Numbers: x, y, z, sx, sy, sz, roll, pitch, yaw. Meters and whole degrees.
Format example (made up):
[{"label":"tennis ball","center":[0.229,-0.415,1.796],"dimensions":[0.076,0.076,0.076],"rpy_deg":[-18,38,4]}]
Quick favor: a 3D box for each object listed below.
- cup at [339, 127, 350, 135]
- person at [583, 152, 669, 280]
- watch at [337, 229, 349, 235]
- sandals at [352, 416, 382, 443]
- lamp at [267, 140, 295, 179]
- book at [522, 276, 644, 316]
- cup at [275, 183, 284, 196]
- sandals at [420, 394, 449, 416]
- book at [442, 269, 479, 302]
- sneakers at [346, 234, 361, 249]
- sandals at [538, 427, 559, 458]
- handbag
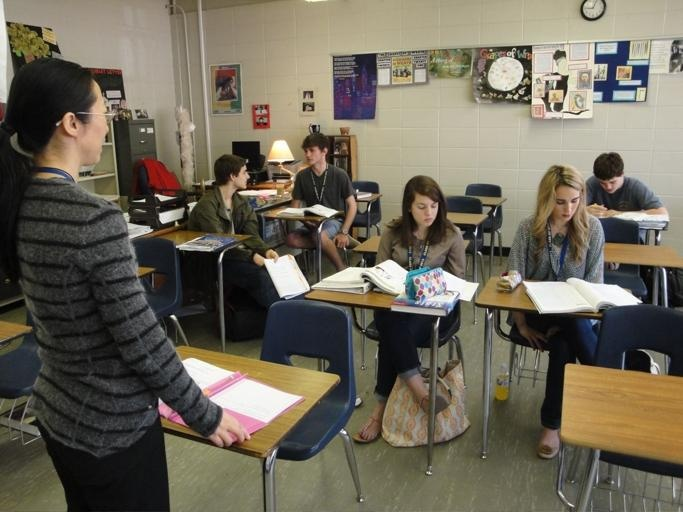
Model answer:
[{"label":"cup","center":[0.039,-1.629,6.531],"dimensions":[0.098,0.075,0.099],"rpy_deg":[-1,3,0]},{"label":"person","center":[2.462,-0.335,4.537],"dimensions":[0.864,1.118,0.636],"rpy_deg":[1,18,39]},{"label":"watch","center":[0.028,-0.248,5.353],"dimensions":[0.069,0.047,0.066],"rpy_deg":[3,-22,-22]},{"label":"sandals","center":[0.158,0.997,2.871],"dimensions":[0.072,0.093,0.211],"rpy_deg":[7,2,38]},{"label":"lamp","center":[-0.804,-1.251,6.637],"dimensions":[0.368,0.555,0.338],"rpy_deg":[-6,8,-24]},{"label":"book","center":[1.193,0.187,2.482],"dimensions":[0.515,0.112,0.520],"rpy_deg":[4,17,15]},{"label":"cup","center":[-0.702,-0.748,5.736],"dimensions":[0.109,0.131,0.108],"rpy_deg":[1,11,0]},{"label":"sandals","center":[0.486,0.782,2.636],"dimensions":[0.141,0.042,0.140],"rpy_deg":[2,5,20]},{"label":"book","center":[0.626,0.167,2.628],"dimensions":[0.173,0.037,0.161],"rpy_deg":[16,27,22]},{"label":"sneakers","center":[0.151,-0.164,5.968],"dimensions":[0.176,0.240,0.169],"rpy_deg":[2,10,15]},{"label":"sandals","center":[1.120,1.007,2.677],"dimensions":[0.075,0.090,0.220],"rpy_deg":[-1,11,23]},{"label":"handbag","center":[0.529,0.887,2.915],"dimensions":[0.559,0.328,0.556],"rpy_deg":[-10,44,16]}]
